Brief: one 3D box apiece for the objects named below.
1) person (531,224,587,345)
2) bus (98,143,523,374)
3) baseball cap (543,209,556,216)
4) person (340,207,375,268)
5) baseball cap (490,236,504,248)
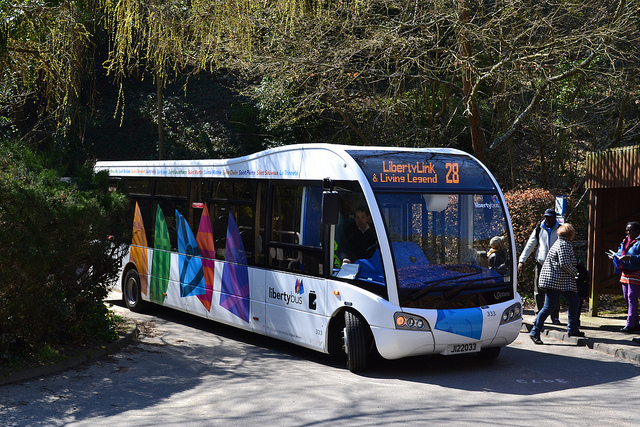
[{"bbox_3d":[5.002,1.499,12.858,1.147,2.497,0.615,-3,7,-24],"label":"person"},{"bbox_3d":[-1.248,0.594,14.119,11.326,4.198,2.838,5,8,39],"label":"bus"},{"bbox_3d":[5.204,-0.002,14.073,0.198,0.118,0.331,2,6,21],"label":"baseball cap"},{"bbox_3d":[0.689,0.478,11.245,0.254,1.049,0.543,17,7,42],"label":"person"},{"bbox_3d":[3.308,0.542,11.630,0.301,0.198,0.080,-3,7,-30],"label":"baseball cap"}]
